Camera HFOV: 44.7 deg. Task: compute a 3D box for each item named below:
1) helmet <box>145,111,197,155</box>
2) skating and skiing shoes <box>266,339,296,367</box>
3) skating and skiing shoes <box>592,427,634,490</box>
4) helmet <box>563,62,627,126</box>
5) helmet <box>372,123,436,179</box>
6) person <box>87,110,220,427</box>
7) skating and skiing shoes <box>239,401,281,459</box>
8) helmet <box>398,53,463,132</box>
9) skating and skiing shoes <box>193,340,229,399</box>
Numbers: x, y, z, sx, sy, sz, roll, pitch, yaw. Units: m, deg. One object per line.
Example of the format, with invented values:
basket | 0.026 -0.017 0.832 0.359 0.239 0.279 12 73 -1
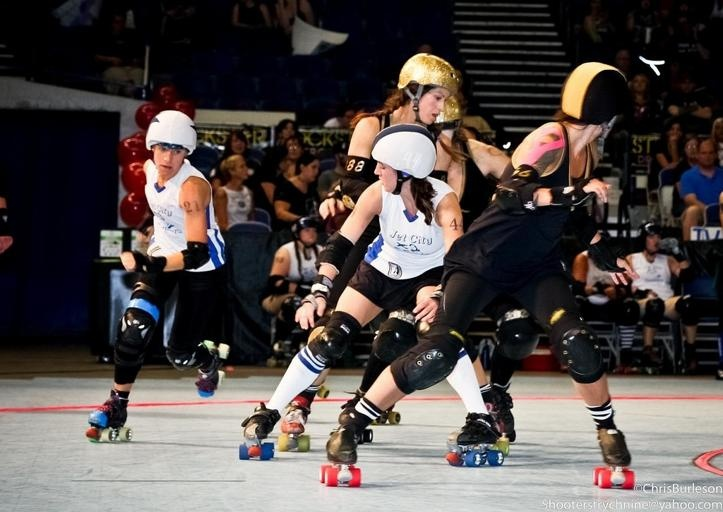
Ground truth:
helmet | -1.353 -0.885 6.225 0.250 0.280 0.334 5 -23 -3
skating and skiing shoes | -0.936 1.154 10.454 0.272 0.150 0.365 -1 5 1
skating and skiing shoes | 1.462 1.154 5.199 0.187 0.302 0.560 -1 10 8
helmet | 1.394 -0.984 5.268 0.370 0.354 0.258 -3 19 -24
helmet | 0.268 -0.648 5.490 0.405 0.338 0.314 -5 19 -13
person | -1.413 0.104 6.365 0.712 2.351 1.200 4 2 3
skating and skiing shoes | -0.679 1.129 5.631 0.210 0.288 0.424 1 6 -7
helmet | 0.467 -1.248 6.377 0.459 0.523 0.399 -4 -1 21
skating and skiing shoes | -1.226 0.950 7.007 0.145 0.190 0.385 7 39 -5
